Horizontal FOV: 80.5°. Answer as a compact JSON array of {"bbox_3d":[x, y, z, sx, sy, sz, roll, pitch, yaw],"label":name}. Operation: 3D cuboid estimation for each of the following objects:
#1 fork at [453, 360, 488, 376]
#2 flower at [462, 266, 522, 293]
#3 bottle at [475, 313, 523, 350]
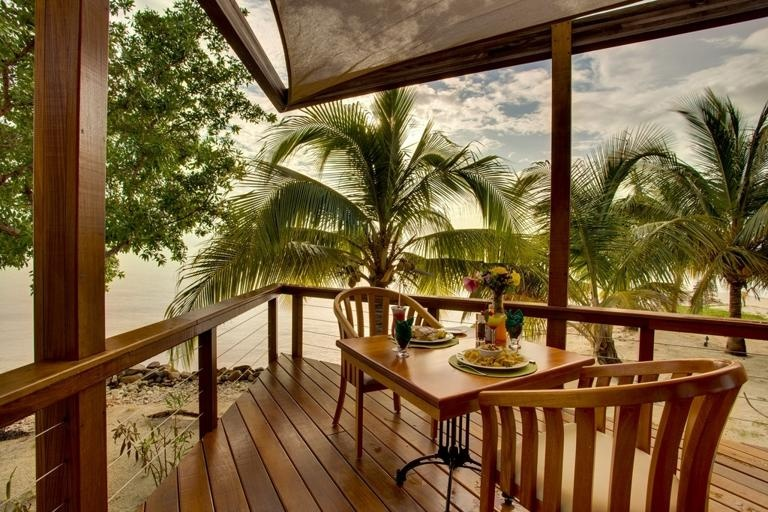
[{"bbox_3d":[0.614,0.811,3.236,0.074,0.042,0.349,-9,11,-23],"label":"fork"},{"bbox_3d":[0.904,0.196,3.672,0.372,0.170,0.383,-14,-14,42],"label":"flower"},{"bbox_3d":[0.914,0.585,3.640,0.336,0.357,0.272,1,1,44],"label":"bottle"}]
